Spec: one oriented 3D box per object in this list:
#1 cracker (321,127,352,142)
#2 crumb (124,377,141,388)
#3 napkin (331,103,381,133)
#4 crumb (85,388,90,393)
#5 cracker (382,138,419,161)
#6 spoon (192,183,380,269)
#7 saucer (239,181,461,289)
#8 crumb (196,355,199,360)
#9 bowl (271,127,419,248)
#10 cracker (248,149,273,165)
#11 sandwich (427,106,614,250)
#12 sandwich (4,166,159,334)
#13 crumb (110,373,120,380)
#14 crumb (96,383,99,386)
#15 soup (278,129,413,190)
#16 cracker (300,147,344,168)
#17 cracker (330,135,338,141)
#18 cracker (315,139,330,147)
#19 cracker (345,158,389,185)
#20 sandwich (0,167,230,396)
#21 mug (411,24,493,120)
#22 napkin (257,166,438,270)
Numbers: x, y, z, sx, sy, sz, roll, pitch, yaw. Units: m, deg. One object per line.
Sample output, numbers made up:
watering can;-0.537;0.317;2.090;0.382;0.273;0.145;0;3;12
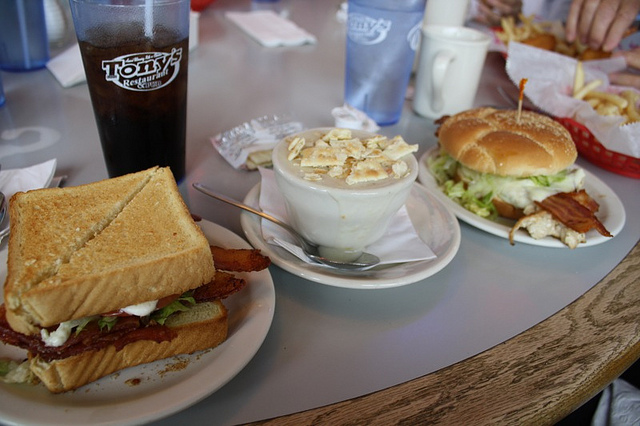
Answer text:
cracker;0.045;-0.192;1.136;0.048;0.015;0.046;5;32;4
crumb;-0.358;0.324;0.895;0.022;0.004;0.014;-19;45;-14
napkin;0.119;-0.325;1.623;0.144;0.055;0.104;24;40;5
crumb;-0.441;0.336;0.887;0.004;0.001;0.006;20;45;35
cracker;0.187;-0.148;1.095;0.075;0.014;0.054;-34;50;-31
spoon;-0.097;0.023;1.143;0.499;0.066;0.092;28;16;2
saucer;0.104;0.089;1.113;0.365;0.057;0.343;2;33;-1
crumb;-0.243;0.287;0.931;0.005;0.001;0.005;0;53;-13
bowl;0.054;-0.061;1.162;0.346;0.222;0.317;2;35;-1
cracker;-0.182;-0.174;1.435;0.078;0.033;0.050;-6;35;-16
sandwich;0.587;-0.064;1.451;0.356;0.144;0.511;-21;42;-14
sandwich;-0.515;0.060;1.052;0.349;0.251;0.255;24;24;33
crumb;-0.396;0.316;0.909;0.012;0.004;0.015;28;40;31
crumb;-0.426;0.328;0.899;0.003;0.002;0.003;-5;15;-42
soup;0.060;-0.129;1.092;0.291;0.042;0.249;22;37;25
cracker;0.002;-0.128;1.073;0.072;0.016;0.054;1;41;0
cracker;0.033;-0.178;1.120;0.015;0.003;0.013;0;36;-5
cracker;0.004;-0.165;1.107;0.022;0.006;0.021;16;32;41
cracker;0.100;-0.095;1.054;0.099;0.027;0.066;-6;35;-16
sandwich;-0.453;0.063;0.961;0.397;0.149;0.457;-17;43;-24
mug;0.469;-0.520;1.799;0.256;0.316;0.371;17;32;18
napkin;0.096;0.079;1.065;0.356;0.046;0.342;11;5;-19
